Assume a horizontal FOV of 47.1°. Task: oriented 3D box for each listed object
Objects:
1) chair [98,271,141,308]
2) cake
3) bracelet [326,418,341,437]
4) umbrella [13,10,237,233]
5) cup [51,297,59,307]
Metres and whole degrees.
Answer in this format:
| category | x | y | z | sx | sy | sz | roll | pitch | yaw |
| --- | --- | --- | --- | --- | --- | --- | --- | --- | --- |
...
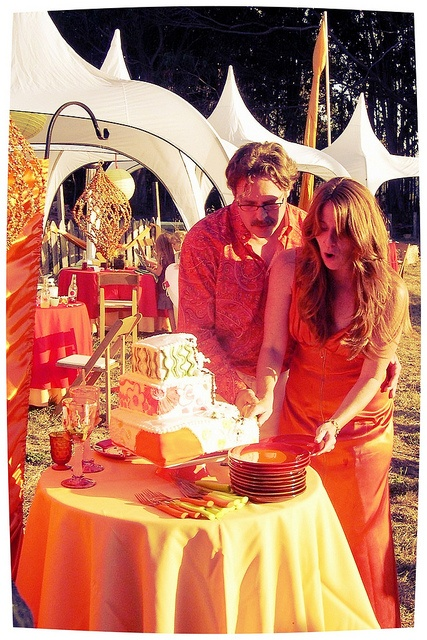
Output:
| category | x | y | z | sx | sy | sz | roll | pitch | yaw |
| --- | --- | --- | --- | --- | --- | --- | --- | --- | --- |
| chair | -1.301 | -0.402 | 6.658 | 0.438 | 0.827 | 0.502 | 0 | 14 | -4 |
| cake | -0.096 | 0.158 | 1.532 | 0.389 | 0.360 | 0.380 | -6 | 10 | -36 |
| bracelet | 0.425 | 0.382 | 1.730 | 0.026 | 0.072 | 0.053 | -16 | 0 | 28 |
| umbrella | -1.140 | -2.343 | 6.496 | 2.287 | 2.416 | 3.527 | -8 | 10 | -9 |
| cup | -1.831 | -0.199 | 5.628 | 0.079 | 0.077 | 0.082 | -8 | 2 | 0 |
